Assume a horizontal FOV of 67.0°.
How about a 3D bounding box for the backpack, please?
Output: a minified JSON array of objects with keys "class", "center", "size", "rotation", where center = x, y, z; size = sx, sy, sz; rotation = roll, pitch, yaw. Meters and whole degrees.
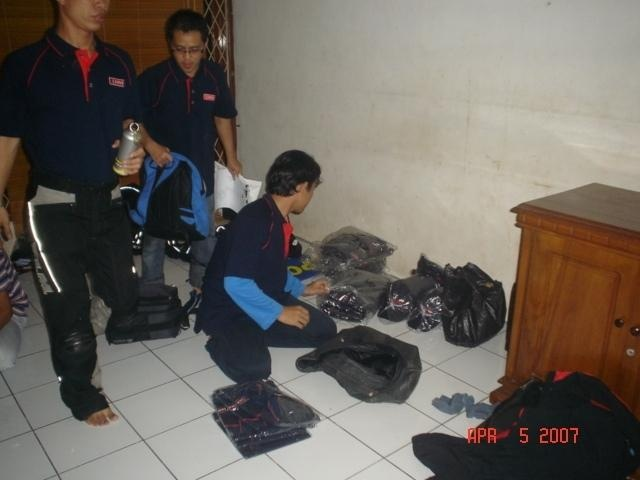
[{"class":"backpack","center":[-0.998,-0.291,3.229],"size":[0.589,0.581,0.307],"rotation":[-2,9,-32]}]
